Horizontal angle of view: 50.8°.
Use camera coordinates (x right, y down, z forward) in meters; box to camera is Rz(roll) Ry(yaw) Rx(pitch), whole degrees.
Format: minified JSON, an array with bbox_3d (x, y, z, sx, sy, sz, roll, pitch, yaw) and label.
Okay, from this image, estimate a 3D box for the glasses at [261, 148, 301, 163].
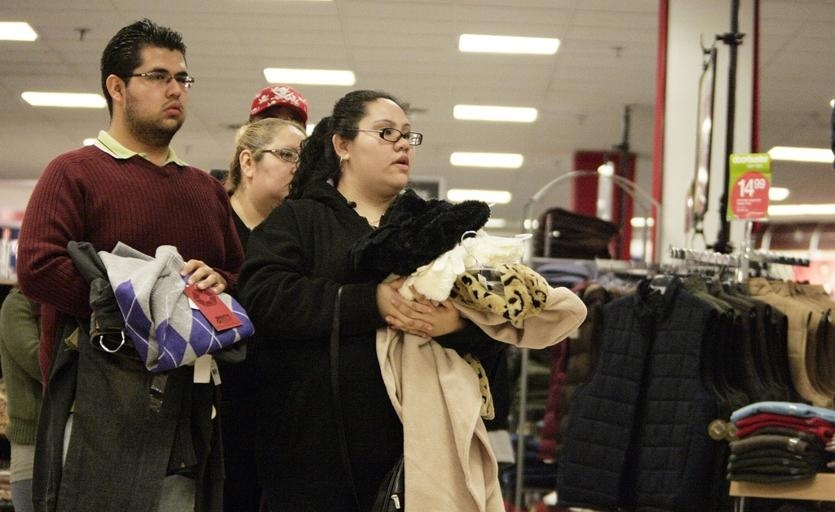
[{"bbox_3d":[-0.832,-0.632,5.468,0.192,0.058,0.195,6,-3,27],"label":"glasses"}]
